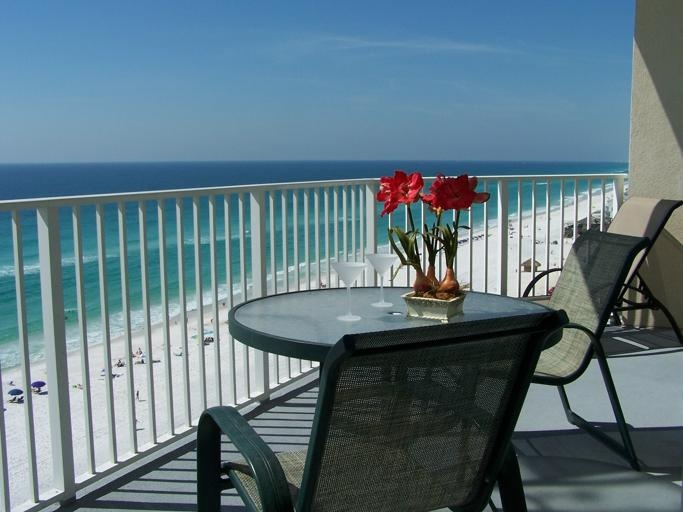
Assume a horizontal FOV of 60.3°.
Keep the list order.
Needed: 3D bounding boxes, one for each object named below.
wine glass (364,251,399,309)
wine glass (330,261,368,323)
[{"bbox_3d":[0.101,0.084,2.199,0.177,0.210,0.178,0,3,-4],"label":"wine glass"},{"bbox_3d":[-0.016,0.125,2.135,0.174,0.206,0.182,-1,5,-11],"label":"wine glass"}]
